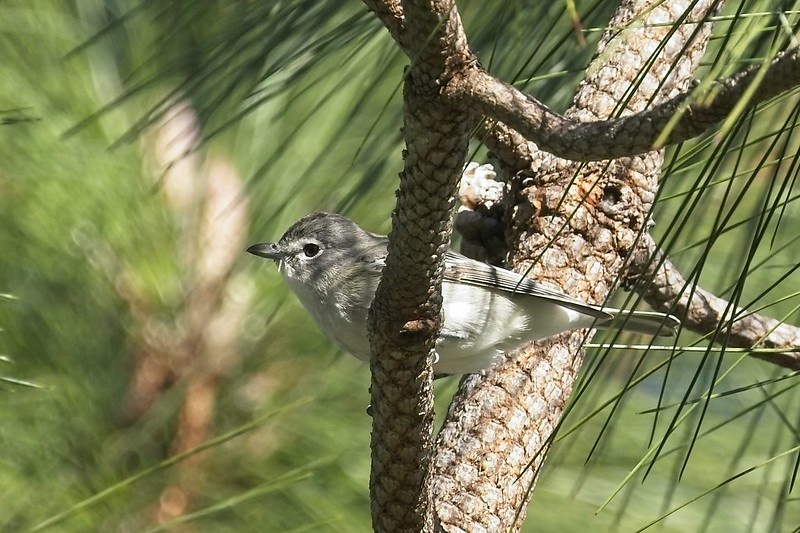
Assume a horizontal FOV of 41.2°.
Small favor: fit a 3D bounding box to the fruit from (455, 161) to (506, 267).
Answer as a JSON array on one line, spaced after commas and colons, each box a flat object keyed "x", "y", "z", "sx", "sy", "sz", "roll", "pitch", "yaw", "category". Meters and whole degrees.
[{"x": 0.372, "y": -0.223, "z": 4.831, "sx": 0.218, "sy": 0.430, "sz": 0.330, "roll": -5, "pitch": -11, "yaw": 14, "category": "fruit"}]

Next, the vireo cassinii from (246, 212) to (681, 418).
[{"x": 0.288, "y": 0.188, "z": 4.698, "sx": 1.888, "sy": 0.806, "sz": 0.558, "roll": 1, "pitch": -33, "yaw": -18, "category": "vireo cassinii"}]
